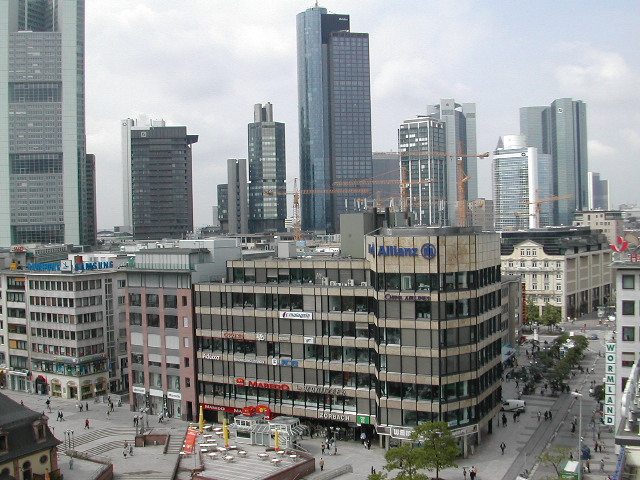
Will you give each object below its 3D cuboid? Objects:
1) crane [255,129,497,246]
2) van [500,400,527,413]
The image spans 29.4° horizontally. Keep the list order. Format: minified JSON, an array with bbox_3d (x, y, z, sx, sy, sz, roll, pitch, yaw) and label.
[{"bbox_3d":[23.241,-26.940,637.470,138.408,72.639,34.065,-5,-3,3],"label":"crane"},{"bbox_3d":[52.347,44.662,330.378,5.564,2.606,3.427,0,0,11],"label":"van"}]
